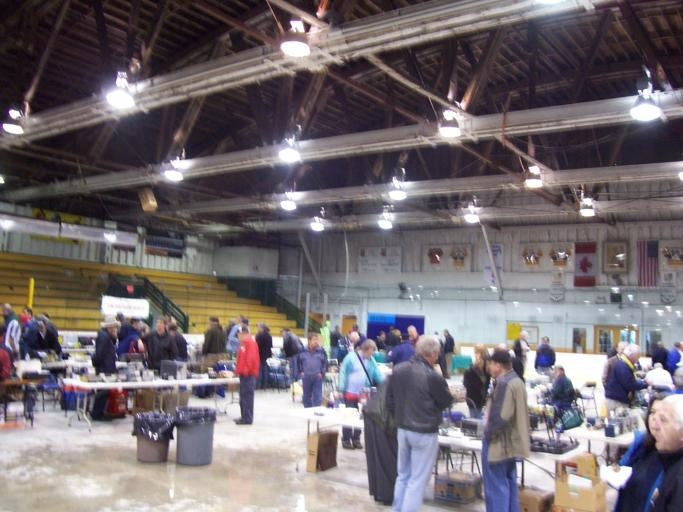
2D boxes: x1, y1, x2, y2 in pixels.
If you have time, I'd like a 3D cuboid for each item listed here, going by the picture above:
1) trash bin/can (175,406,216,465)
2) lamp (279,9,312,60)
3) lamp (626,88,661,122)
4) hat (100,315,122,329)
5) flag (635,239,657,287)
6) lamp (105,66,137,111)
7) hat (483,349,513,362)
[{"bbox_3d":[-2.464,3.073,9.856,0.789,0.932,0.755,2,-6,-11],"label":"trash bin/can"},{"bbox_3d":[-0.756,-3.477,9.141,0.437,0.785,0.616,1,-6,-11],"label":"lamp"},{"bbox_3d":[5.445,-2.741,10.489,0.490,0.586,0.366,2,-7,-20],"label":"lamp"},{"bbox_3d":[-5.035,1.443,12.527,0.358,0.176,0.364,-5,-7,2],"label":"hat"},{"bbox_3d":[11.676,0.292,22.150,0.741,1.723,0.255,-5,-7,36],"label":"flag"},{"bbox_3d":[-4.350,-3.242,11.480,0.614,0.774,0.722,4,20,-10],"label":"lamp"},{"bbox_3d":[2.146,1.356,7.901,0.281,0.187,0.388,-3,-7,21],"label":"hat"}]
